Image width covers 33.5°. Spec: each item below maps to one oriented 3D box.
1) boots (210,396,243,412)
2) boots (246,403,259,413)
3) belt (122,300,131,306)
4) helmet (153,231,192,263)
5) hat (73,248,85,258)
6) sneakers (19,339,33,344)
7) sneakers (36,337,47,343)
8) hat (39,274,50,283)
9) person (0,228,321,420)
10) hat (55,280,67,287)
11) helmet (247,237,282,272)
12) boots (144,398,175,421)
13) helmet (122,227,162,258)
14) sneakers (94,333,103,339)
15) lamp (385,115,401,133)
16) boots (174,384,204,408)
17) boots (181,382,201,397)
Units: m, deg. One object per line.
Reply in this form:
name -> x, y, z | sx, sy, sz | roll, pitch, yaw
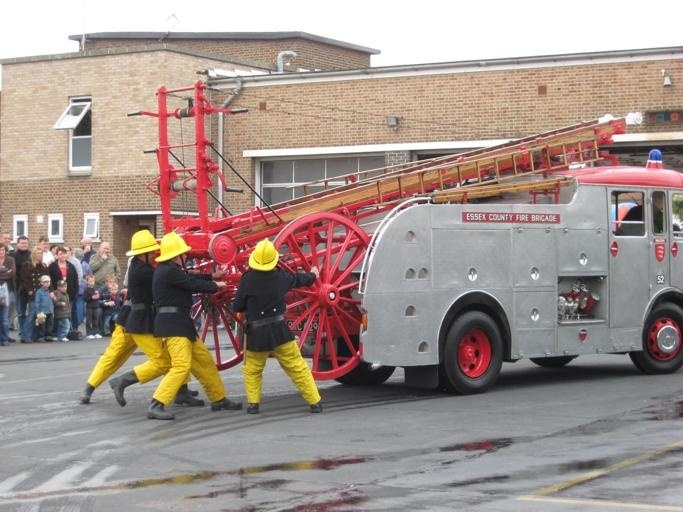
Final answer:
boots -> -1.548, 2.034, 15.395 | 0.505, 0.159, 0.151 | -2, -1, -6
boots -> -1.184, 2.016, 15.097 | 0.209, 0.149, 0.106 | 2, -1, 11
belt -> -2.976, 0.652, 15.830 | 0.122, 0.065, 0.106 | 0, -1, -8
helmet -> -2.255, -0.123, 15.163 | 0.434, 0.215, 0.454 | -4, 17, 43
hat -> -6.075, -0.079, 26.230 | 0.212, 0.212, 0.244 | 3, 9, 5
sneakers -> -6.673, 1.822, 24.182 | 0.287, 0.093, 0.089 | -3, -4, 23
sneakers -> -6.417, 1.804, 24.367 | 0.170, 0.085, 0.090 | -5, 4, -5
hat -> -6.205, 0.495, 23.991 | 0.162, 0.116, 0.178 | 8, 3, -38
person -> -2.458, 0.885, 15.526 | 1.692, 2.434, 1.191 | -2, 0, 42
hat -> -5.989, 0.605, 24.437 | 0.152, 0.138, 0.165 | 1, 8, -14
helmet -> -1.014, -0.002, 14.934 | 0.369, 0.404, 0.335 | -2, 0, -3
boots -> -2.341, 2.002, 14.826 | 0.353, 0.261, 0.243 | -2, 0, -9
helmet -> -2.679, -0.174, 15.798 | 0.545, 0.229, 0.526 | -22, 13, -39
sneakers -> -5.436, 1.803, 25.498 | 0.106, 0.097, 0.296 | 0, -4, -33
lamp -> 1.425, -3.565, 30.616 | 0.473, 0.526, 0.453 | 1, 0, -32
boots -> -2.256, 1.985, 16.063 | 0.666, 0.345, 0.201 | 0, 1, -1
boots -> -2.176, 1.917, 16.185 | 0.139, 0.231, 0.373 | 6, 5, 42
